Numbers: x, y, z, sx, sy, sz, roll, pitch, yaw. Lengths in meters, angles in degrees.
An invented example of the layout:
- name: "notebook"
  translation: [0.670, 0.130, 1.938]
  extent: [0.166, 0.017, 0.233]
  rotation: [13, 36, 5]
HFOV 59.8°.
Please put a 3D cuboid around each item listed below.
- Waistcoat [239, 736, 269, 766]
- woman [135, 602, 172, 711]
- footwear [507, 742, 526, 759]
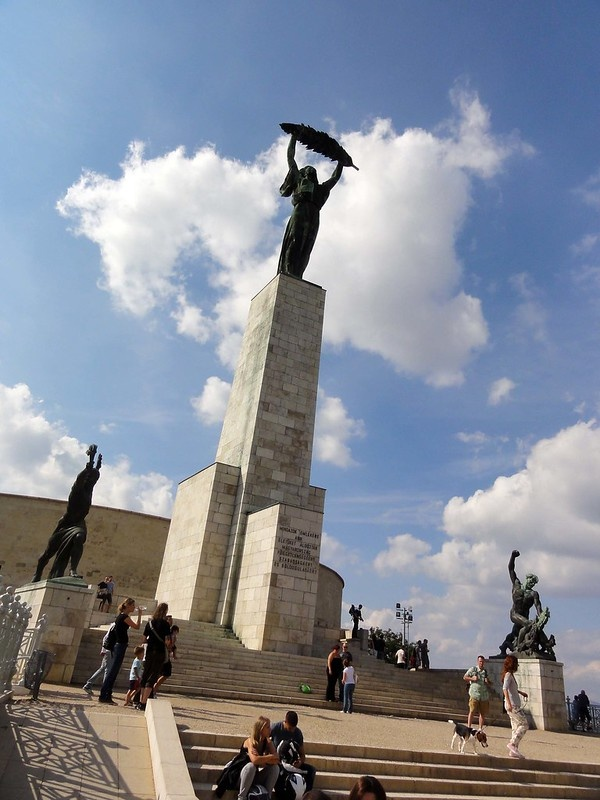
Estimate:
- name: "Waistcoat"
  translation: [-0.390, 2.896, 4.235]
  extent: [0.189, 0.120, 0.174]
  rotation: [28, 15, -1]
- name: "woman"
  translation: [-1.976, 3.404, 6.933]
  extent: [0.351, 1.274, 0.483]
  rotation: [6, -22, 4]
- name: "footwear"
  translation: [3.096, 5.050, 7.486]
  extent: [0.196, 0.176, 0.358]
  rotation: [-2, -23, 21]
